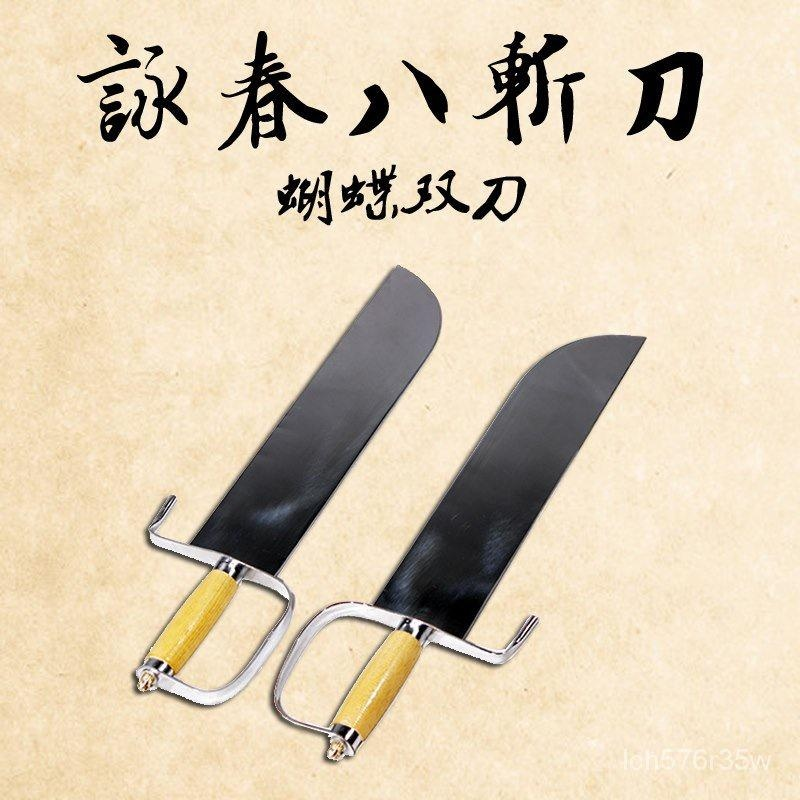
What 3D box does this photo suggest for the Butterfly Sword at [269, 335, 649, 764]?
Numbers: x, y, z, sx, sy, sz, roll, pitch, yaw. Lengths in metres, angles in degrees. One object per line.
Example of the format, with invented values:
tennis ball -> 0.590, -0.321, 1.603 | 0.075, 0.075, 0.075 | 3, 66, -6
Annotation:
Butterfly Sword -> 0.149, 0.255, 1.969 | 0.381, 0.088, 1.095 | 33, 57, 14

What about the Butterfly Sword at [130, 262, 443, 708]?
Butterfly Sword -> -0.173, 0.148, 1.983 | 0.366, 0.074, 1.010 | 26, 54, 16
